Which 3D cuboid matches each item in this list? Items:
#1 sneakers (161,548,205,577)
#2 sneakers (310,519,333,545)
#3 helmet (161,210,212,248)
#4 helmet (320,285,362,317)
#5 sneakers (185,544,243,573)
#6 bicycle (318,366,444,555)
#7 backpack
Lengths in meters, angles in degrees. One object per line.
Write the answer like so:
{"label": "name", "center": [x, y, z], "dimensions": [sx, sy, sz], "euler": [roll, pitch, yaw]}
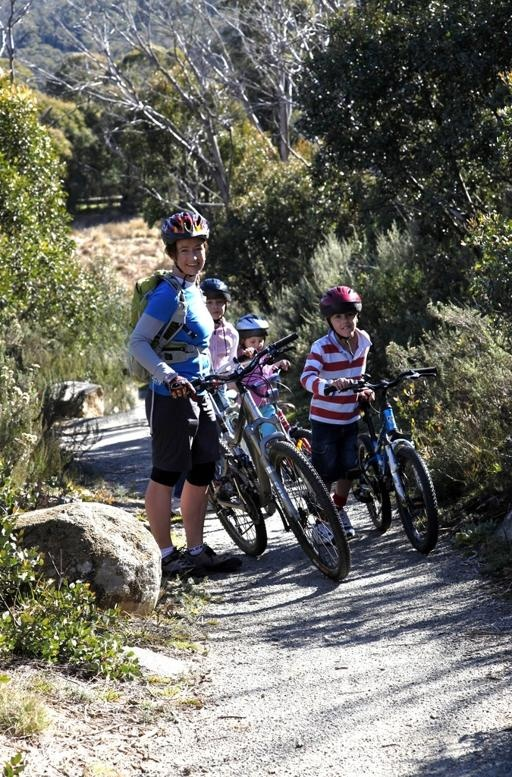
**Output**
{"label": "sneakers", "center": [-0.384, 1.017, 4.993], "dimensions": [0.304, 0.138, 0.107], "euler": [0, -2, 12]}
{"label": "sneakers", "center": [0.361, 0.786, 4.685], "dimensions": [0.081, 0.152, 0.179], "euler": [-1, 3, -12]}
{"label": "helmet", "center": [-0.390, -0.862, 4.571], "dimensions": [0.171, 0.124, 0.242], "euler": [-1, -5, -7]}
{"label": "helmet", "center": [0.514, -0.501, 5.192], "dimensions": [0.172, 0.215, 0.196], "euler": [-2, -2, -2]}
{"label": "sneakers", "center": [-0.261, 1.008, 5.119], "dimensions": [0.397, 0.191, 0.137], "euler": [0, 0, -7]}
{"label": "bicycle", "center": [0.826, 0.520, 5.378], "dimensions": [0.620, 0.785, 1.231], "euler": [-12, -1, -10]}
{"label": "backpack", "center": [-0.525, -0.320, 4.555], "dimensions": [0.303, 0.606, 0.452], "euler": [-1, 4, -9]}
